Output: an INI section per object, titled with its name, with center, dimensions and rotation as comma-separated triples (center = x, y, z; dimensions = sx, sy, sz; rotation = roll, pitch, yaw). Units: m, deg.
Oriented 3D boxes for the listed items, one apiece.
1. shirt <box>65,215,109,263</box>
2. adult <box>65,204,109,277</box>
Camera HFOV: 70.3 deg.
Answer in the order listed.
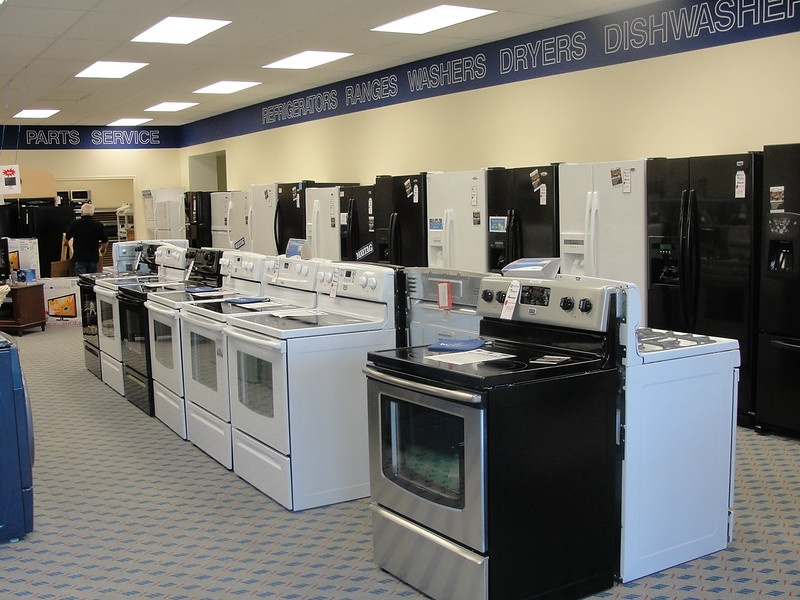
[shirt]
center = -5.669, -1.030, 10.155
dimensions = 0.720, 0.828, 0.427
rotation = -4, -5, -20
[adult]
center = -5.743, -0.889, 10.186
dimensions = 0.685, 1.609, 0.454
rotation = 2, 15, -24
